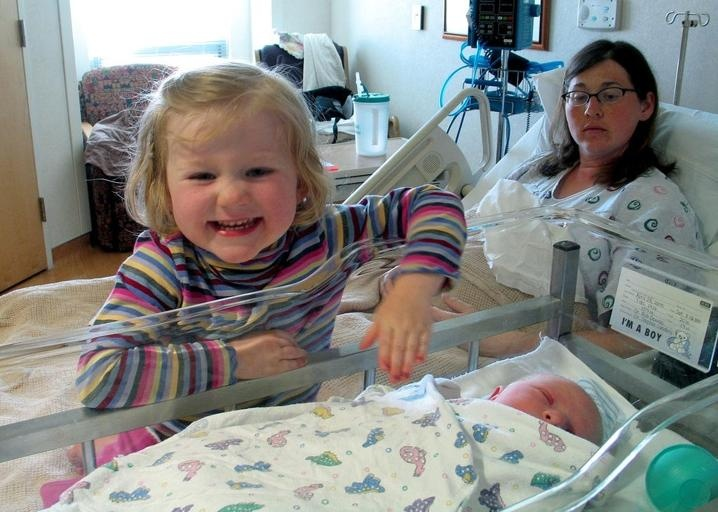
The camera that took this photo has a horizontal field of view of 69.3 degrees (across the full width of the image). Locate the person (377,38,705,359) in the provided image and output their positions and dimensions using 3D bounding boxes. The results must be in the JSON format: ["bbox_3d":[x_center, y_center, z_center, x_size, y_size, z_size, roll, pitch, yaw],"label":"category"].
[{"bbox_3d":[0.785,-0.277,2.015,0.751,0.989,1.146,-6,22,-21],"label":"person"}]

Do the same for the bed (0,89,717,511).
[{"bbox_3d":[0.125,0.043,1.567,1.769,1.043,0.941,-31,41,-22],"label":"bed"}]
